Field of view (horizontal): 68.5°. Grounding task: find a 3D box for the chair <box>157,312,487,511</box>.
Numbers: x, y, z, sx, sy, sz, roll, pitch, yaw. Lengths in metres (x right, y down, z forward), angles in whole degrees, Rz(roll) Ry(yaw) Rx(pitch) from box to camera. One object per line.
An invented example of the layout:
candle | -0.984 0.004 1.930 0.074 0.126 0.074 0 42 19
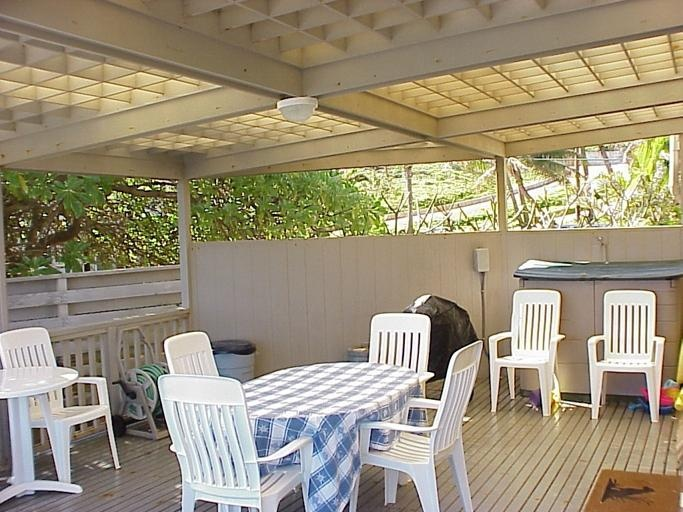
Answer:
chair | 0.236 0.955 3.616 1.344 1.044 1.685 -3 -5 34

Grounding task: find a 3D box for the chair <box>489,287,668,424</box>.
chair | 2.632 1.072 5.418 1.581 1.043 0.630 -2 -4 27
